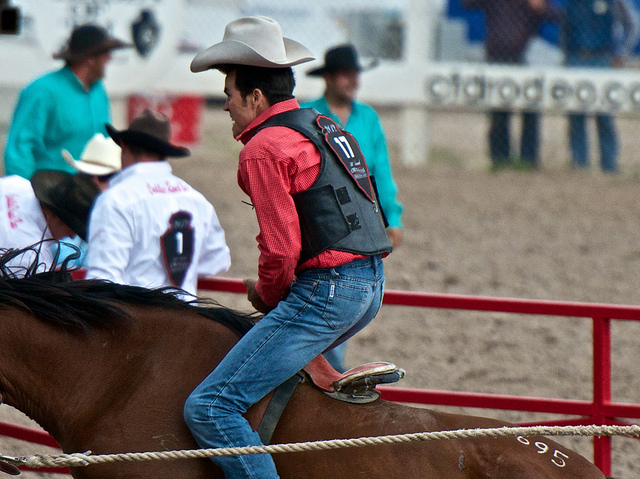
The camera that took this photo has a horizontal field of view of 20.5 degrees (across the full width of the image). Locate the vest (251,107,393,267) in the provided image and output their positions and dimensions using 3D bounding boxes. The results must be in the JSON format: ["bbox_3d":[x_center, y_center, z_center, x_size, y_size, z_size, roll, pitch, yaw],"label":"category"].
[{"bbox_3d":[0.014,-0.415,14.606,0.795,1.325,0.925,-22,-7,30],"label":"vest"}]
